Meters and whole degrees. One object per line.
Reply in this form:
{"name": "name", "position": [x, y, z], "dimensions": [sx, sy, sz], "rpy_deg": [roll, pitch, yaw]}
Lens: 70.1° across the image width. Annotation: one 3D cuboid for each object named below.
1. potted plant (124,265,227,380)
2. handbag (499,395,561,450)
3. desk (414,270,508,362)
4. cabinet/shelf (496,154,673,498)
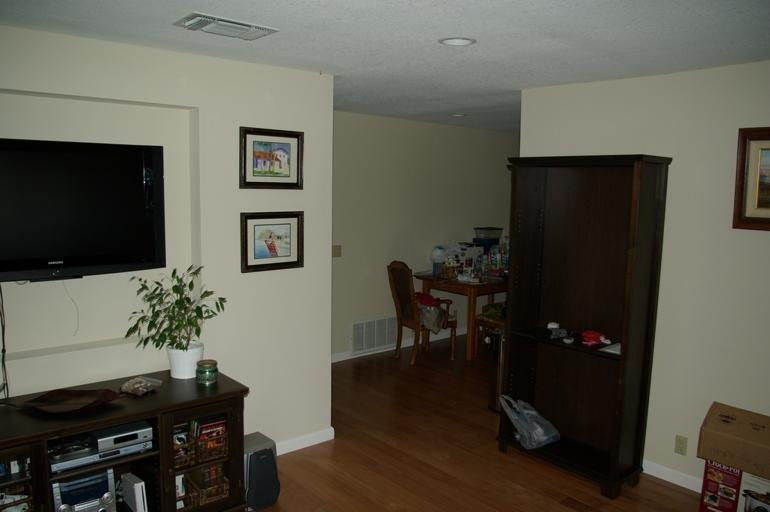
{"name": "potted plant", "position": [-1.486, 0.430, 4.142], "dimensions": [0.932, 0.911, 0.761], "rpy_deg": [0, 5, -6]}
{"name": "handbag", "position": [1.185, 1.406, 4.622], "dimensions": [0.348, 0.129, 0.484], "rpy_deg": [-19, 43, -41]}
{"name": "desk", "position": [1.107, 0.528, 7.092], "dimensions": [1.031, 0.930, 1.267], "rpy_deg": [-6, 10, -34]}
{"name": "cabinet/shelf", "position": [1.537, 0.455, 4.412], "dimensions": [1.231, 2.525, 0.811], "rpy_deg": [9, 16, 31]}
